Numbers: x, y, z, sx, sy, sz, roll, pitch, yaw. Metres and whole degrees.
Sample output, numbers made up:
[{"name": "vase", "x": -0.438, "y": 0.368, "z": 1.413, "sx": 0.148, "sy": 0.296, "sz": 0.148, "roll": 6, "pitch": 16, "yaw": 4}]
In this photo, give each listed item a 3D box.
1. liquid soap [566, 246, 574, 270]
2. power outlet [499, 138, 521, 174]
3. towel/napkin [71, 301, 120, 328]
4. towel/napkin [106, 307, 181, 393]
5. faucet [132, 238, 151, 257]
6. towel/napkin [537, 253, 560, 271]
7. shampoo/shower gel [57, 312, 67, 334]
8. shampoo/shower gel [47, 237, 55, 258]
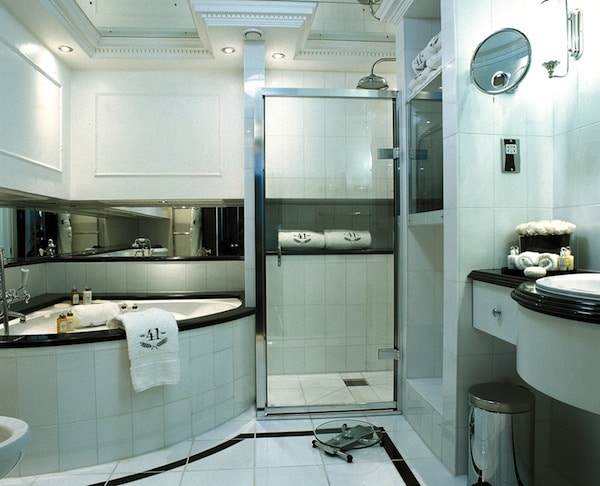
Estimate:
[{"name": "liquid soap", "x": 1.430, "y": 0.083, "z": 2.749, "sx": 0.036, "sy": 0.106, "sz": 0.113, "roll": 6, "pitch": 15, "yaw": 25}, {"name": "power outlet", "x": 1.215, "y": -0.505, "z": 2.994, "sx": 0.115, "sy": 0.190, "sz": 0.045, "roll": -2, "pitch": 13, "yaw": -5}, {"name": "towel/napkin", "x": -1.466, "y": 0.513, "z": 3.731, "sx": 0.240, "sy": 0.115, "sz": 0.244, "roll": -3, "pitch": 14, "yaw": -30}, {"name": "towel/napkin", "x": -0.960, "y": 0.643, "z": 3.316, "sx": 0.385, "sy": 0.527, "sz": 0.185, "roll": -4, "pitch": -2, "yaw": -33}, {"name": "faucet", "x": -1.459, "y": 0.037, "z": 4.785, "sx": 0.167, "sy": 0.168, "sz": 0.141, "roll": 2, "pitch": 1, "yaw": -3}, {"name": "towel/napkin", "x": 1.302, "y": 0.098, "z": 2.718, "sx": 0.086, "sy": 0.089, "sz": 0.030, "roll": -2, "pitch": 11, "yaw": 25}, {"name": "shampoo/shower gel", "x": -1.605, "y": 0.546, "z": 3.495, "sx": 0.067, "sy": 0.127, "sz": 0.100, "roll": -7, "pitch": 15, "yaw": -26}, {"name": "shampoo/shower gel", "x": -2.170, "y": 0.030, "z": 4.520, "sx": 0.033, "sy": 0.158, "sz": 0.086, "roll": 1, "pitch": 14, "yaw": 9}]
